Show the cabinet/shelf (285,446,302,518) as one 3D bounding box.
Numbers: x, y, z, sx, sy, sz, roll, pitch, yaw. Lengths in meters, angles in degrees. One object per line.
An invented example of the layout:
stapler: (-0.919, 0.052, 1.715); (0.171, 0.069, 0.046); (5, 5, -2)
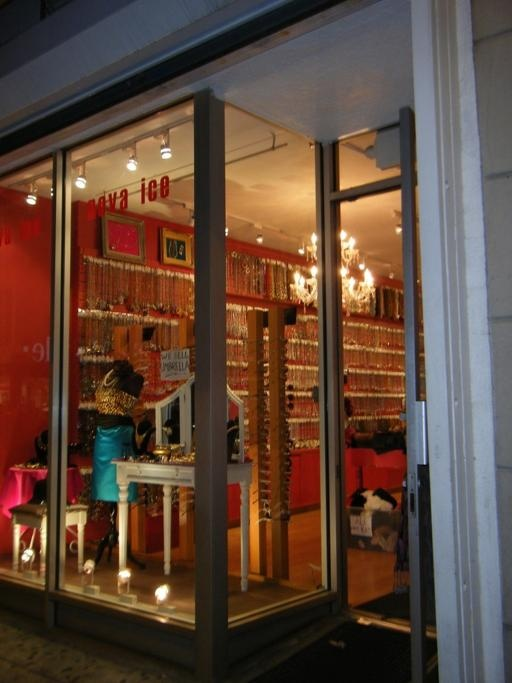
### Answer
cabinet/shelf: (0.230, 0.871, 3.751); (0.073, 0.404, 0.175); (-3, -6, 20)

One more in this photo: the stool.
stool: (-1.374, 1.184, 3.659); (0.263, 0.335, 0.267); (1, -20, -23)

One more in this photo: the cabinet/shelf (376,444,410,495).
cabinet/shelf: (0.809, 0.704, 3.272); (0.148, 0.252, 0.208); (9, -19, -41)

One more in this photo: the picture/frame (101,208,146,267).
picture/frame: (-0.792, -0.644, 3.582); (0.222, 0.298, 0.021); (11, 20, 26)

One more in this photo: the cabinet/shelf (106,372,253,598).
cabinet/shelf: (-0.308, 0.756, 3.232); (0.551, 1.185, 0.394); (-1, -7, 6)

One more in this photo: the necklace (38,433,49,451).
necklace: (-1.375, 0.626, 3.839); (0.082, 0.120, 0.041); (-5, -7, 34)

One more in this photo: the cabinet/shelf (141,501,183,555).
cabinet/shelf: (-0.515, 0.983, 3.327); (0.211, 0.413, 0.238); (-2, -5, 22)

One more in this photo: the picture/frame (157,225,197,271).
picture/frame: (-0.431, -0.523, 3.264); (0.026, 0.326, 0.256); (3, -2, -40)
